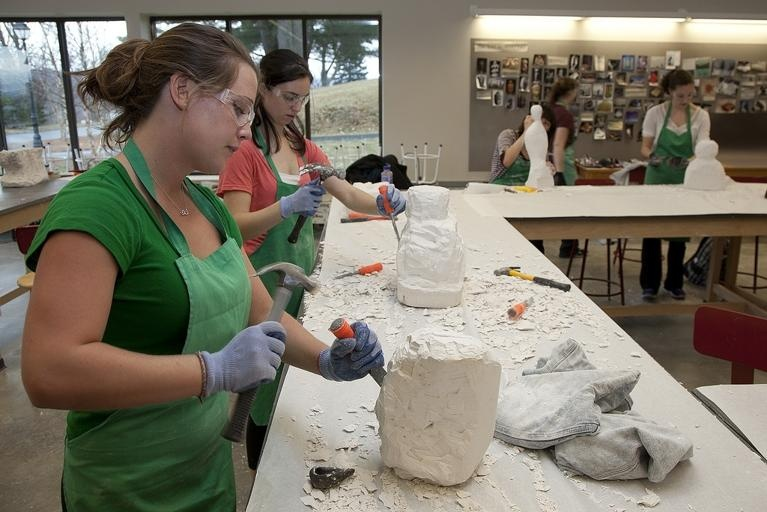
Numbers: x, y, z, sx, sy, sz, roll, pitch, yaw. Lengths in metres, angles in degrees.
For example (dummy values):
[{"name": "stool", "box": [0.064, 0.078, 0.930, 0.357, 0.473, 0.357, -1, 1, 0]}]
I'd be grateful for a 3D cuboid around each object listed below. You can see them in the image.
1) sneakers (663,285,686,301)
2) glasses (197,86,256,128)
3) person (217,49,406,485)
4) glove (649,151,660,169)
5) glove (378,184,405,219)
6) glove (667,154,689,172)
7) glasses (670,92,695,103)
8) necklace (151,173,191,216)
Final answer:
[{"name": "sneakers", "box": [2.570, 0.340, 4.744, 0.084, 0.096, 0.209, -5, 10, -29]}, {"name": "glasses", "box": [-0.414, -0.400, 1.473, 0.091, 0.034, 0.090, 30, 10, 4]}, {"name": "person", "box": [-0.393, 0.162, 2.805, 0.872, 2.402, 0.563, -2, 22, -12]}, {"name": "glove", "box": [2.477, -0.874, 4.867, 0.078, 0.120, 0.041, -2, -17, 7]}, {"name": "glove", "box": [0.038, -0.281, 2.618, 0.099, 0.194, 0.048, 4, -8, -5]}, {"name": "glove", "box": [2.632, -0.828, 4.752, 0.126, 0.079, 0.182, -2, 15, 2]}, {"name": "glasses", "box": [2.583, -1.378, 4.620, 0.151, 0.096, 0.228, 7, 19, 23]}, {"name": "necklace", "box": [-0.610, -0.170, 1.544, 0.025, 0.097, 0.091, -26, -2, 30]}]
